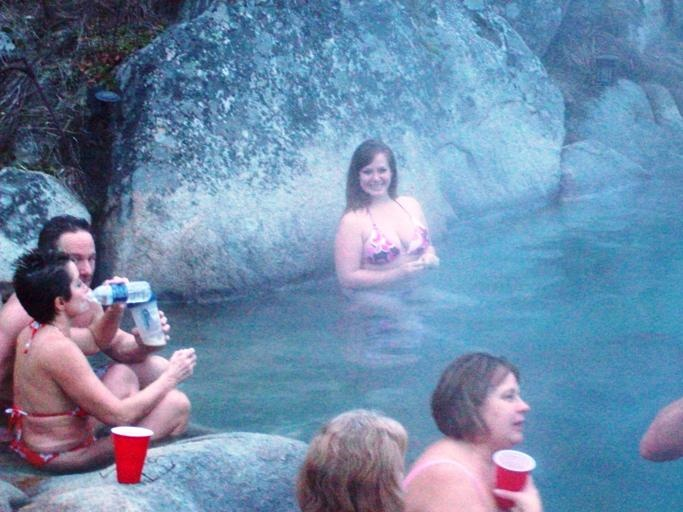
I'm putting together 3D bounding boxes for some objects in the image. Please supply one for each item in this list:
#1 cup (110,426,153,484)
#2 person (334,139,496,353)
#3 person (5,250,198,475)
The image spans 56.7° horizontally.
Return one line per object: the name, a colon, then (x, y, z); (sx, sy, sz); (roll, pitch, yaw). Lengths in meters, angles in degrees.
cup: (-0.941, 0.876, 2.836); (0.245, 0.251, 0.237); (1, -8, 0)
person: (0.374, -0.050, 4.736); (0.845, 1.590, 0.402); (-2, -2, -3)
person: (-1.274, 0.591, 3.437); (0.885, 1.090, 0.845); (4, 0, -22)
